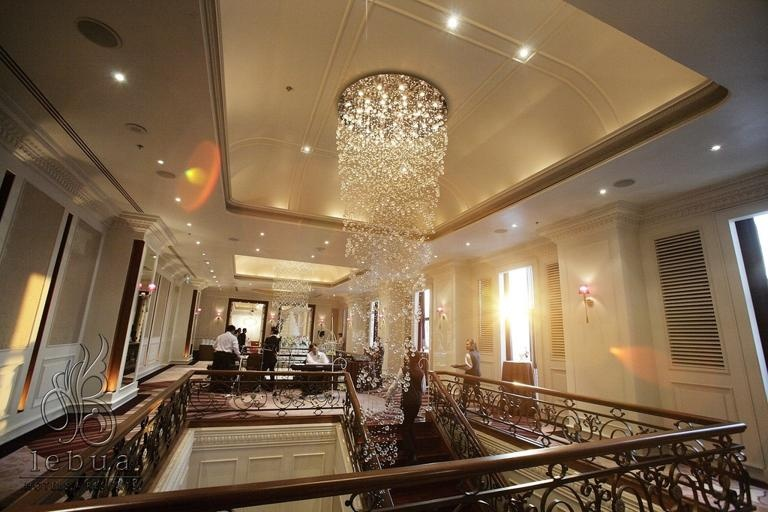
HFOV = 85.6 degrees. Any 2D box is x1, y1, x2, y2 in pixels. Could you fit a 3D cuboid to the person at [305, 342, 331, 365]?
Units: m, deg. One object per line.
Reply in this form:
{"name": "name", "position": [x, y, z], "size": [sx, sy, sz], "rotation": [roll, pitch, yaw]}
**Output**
{"name": "person", "position": [-1.883, 2.759, 11.714], "size": [0.626, 0.583, 0.733], "rotation": [5, -15, -11]}
